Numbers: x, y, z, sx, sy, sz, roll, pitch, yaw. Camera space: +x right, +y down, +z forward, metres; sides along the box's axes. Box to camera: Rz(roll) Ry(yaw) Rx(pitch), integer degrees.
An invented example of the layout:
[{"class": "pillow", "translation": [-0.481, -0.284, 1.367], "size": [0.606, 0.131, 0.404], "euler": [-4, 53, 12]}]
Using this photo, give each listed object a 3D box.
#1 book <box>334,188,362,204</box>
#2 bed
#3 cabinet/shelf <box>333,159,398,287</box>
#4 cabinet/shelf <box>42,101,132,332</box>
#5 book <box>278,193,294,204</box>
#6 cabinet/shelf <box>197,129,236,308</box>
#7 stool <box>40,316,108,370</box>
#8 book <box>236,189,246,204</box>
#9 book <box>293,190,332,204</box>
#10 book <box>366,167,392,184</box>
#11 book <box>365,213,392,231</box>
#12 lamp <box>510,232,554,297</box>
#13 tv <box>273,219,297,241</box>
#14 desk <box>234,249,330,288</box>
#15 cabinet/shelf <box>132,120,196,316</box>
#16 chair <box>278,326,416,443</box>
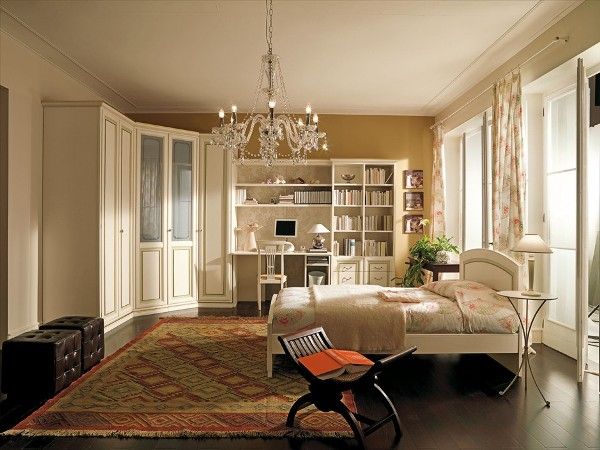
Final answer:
[{"class": "book", "translation": [0.842, -0.493, 7.581], "size": [0.465, 0.265, 0.222], "euler": [1, 8, 4]}, {"class": "bed", "translation": [1.122, 0.812, 4.945], "size": [2.097, 0.962, 1.539], "euler": [0, 0, -3]}, {"class": "cabinet/shelf", "translation": [1.107, 0.097, 7.612], "size": [1.108, 2.399, 0.294], "euler": [1, 10, 7]}, {"class": "cabinet/shelf", "translation": [-2.924, -0.122, 6.062], "size": [0.902, 3.071, 1.079], "euler": [0, 8, -2]}, {"class": "book", "translation": [-0.230, -0.456, 7.609], "size": [0.215, 0.127, 0.164], "euler": [-1, 0, -3]}, {"class": "cabinet/shelf", "translation": [-1.609, -0.415, 7.872], "size": [0.565, 3.021, 0.601], "euler": [14, -49, -25]}, {"class": "stool", "translation": [-2.390, 1.250, 4.808], "size": [0.589, 0.532, 0.560], "euler": [0, -2, -2]}, {"class": "book", "translation": [-0.996, -0.506, 7.632], "size": [0.238, 0.255, 0.195], "euler": [-4, 9, -26]}, {"class": "book", "translation": [0.219, -0.495, 7.587], "size": [0.632, 0.211, 0.159], "euler": [-1, 8, -9]}, {"class": "book", "translation": [1.370, -0.868, 7.582], "size": [0.417, 0.378, 0.319], "euler": [0, 3, 1]}, {"class": "book", "translation": [1.390, -0.047, 7.652], "size": [0.298, 0.366, 0.394], "euler": [0, 0, 2]}, {"class": "lamp", "translation": [2.412, 0.424, 4.612], "size": [0.344, 0.696, 0.845], "euler": [4, 9, 25]}, {"class": "tv", "translation": [-0.263, 0.053, 7.699], "size": [0.409, 0.329, 0.140], "euler": [0, -10, 4]}, {"class": "desk", "translation": [-0.057, 0.735, 7.574], "size": [1.199, 0.518, 0.445], "euler": [4, -3, 17]}, {"class": "cabinet/shelf", "translation": [-2.100, -0.118, 6.930], "size": [1.132, 2.853, 0.496], "euler": [-5, 10, -28]}, {"class": "chair", "translation": [0.295, 1.352, 3.933], "size": [1.156, 0.784, 0.749], "euler": [-2, -2, 43]}]
